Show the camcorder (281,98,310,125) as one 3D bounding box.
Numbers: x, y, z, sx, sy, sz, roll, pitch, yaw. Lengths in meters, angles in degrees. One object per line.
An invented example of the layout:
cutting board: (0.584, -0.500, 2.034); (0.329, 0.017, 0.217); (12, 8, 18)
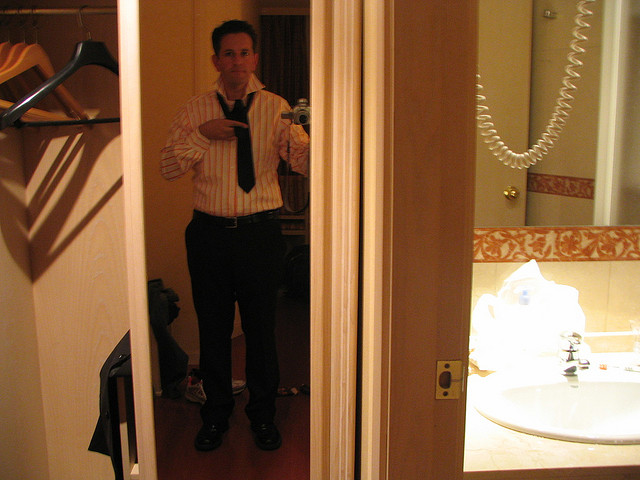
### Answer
camcorder: (-0.071, -0.326, 1.502); (0.085, 0.055, 0.067); (0, 18, 1)

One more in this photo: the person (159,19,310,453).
person: (-0.209, 0.007, 1.615); (0.425, 1.177, 0.342); (3, 7, 9)

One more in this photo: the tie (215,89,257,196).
tie: (-0.220, -0.258, 1.573); (0.106, 0.264, 0.055); (1, -1, -1)
